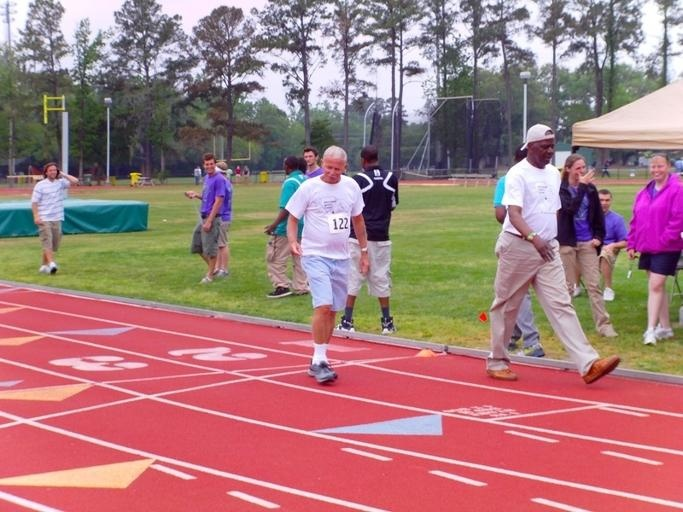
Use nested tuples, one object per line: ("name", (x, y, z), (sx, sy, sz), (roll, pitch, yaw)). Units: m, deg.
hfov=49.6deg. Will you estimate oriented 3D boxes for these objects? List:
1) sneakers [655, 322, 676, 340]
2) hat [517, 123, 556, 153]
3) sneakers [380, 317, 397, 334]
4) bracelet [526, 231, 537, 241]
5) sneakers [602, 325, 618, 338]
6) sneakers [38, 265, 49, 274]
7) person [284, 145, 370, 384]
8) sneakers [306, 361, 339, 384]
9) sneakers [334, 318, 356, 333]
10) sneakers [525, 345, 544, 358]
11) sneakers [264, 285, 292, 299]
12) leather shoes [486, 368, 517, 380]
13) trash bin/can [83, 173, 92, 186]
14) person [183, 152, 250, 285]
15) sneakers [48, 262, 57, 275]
("sneakers", (3.972, 0.942, 9.137), (0.397, 0.168, 0.141), (5, -4, -32))
("hat", (1.964, -1.206, 7.316), (0.263, 0.225, 0.346), (5, 6, 15))
("sneakers", (0.584, 0.913, 9.789), (0.241, 0.229, 0.147), (3, 3, 36))
("bracelet", (1.849, -0.207, 7.155), (0.084, 0.081, 0.025), (-11, -44, 38))
("sneakers", (3.373, 0.951, 9.363), (0.199, 0.199, 0.147), (0, -6, 6))
("sneakers", (-5.855, 0.258, 14.640), (0.275, 0.177, 0.144), (2, -5, 14))
("person", (-0.121, 0.047, 7.783), (0.709, 2.396, 0.787), (-2, 7, -45))
("sneakers", (-0.192, 1.182, 7.538), (0.148, 0.138, 0.318), (-1, 1, -35))
("sneakers", (0.059, 0.924, 9.807), (0.120, 0.137, 0.321), (3, 3, -24))
("sneakers", (2.187, 1.095, 8.566), (0.289, 0.131, 0.108), (2, 1, 40))
("sneakers", (-1.042, 0.598, 12.334), (0.437, 0.199, 0.159), (0, 1, -16))
("leather shoes", (1.668, 1.217, 7.676), (0.262, 0.108, 0.122), (-2, 1, 29))
("trash bin/can", (-23.387, -7.127, 68.071), (0.869, 0.971, 3.246), (1, 6, -19))
("person", (-2.402, -0.713, 13.655), (0.704, 2.342, 1.128), (2, 5, -10))
("sneakers", (-5.676, 0.222, 14.577), (0.163, 0.230, 0.261), (1, 6, -22))
